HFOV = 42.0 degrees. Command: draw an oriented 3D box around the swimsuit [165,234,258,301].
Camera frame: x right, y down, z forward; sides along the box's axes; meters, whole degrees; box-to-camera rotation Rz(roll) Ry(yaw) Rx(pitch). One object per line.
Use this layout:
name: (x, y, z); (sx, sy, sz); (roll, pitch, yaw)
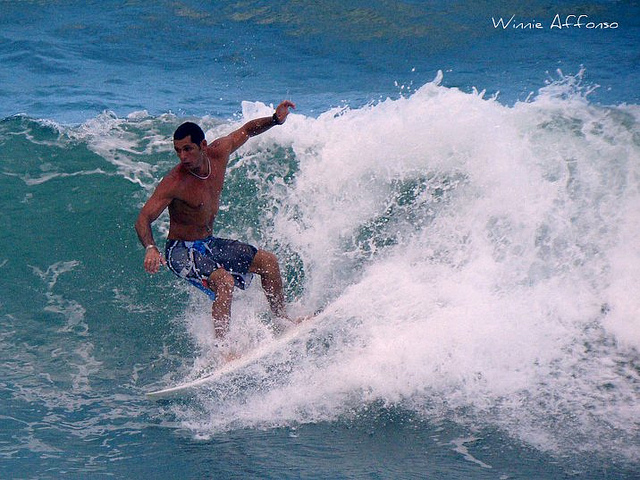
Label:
swimsuit: (-1.338, 0.219, 9.907); (1.104, 0.451, 0.884); (15, 35, 22)

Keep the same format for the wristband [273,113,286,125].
wristband: (-0.514, -1.489, 10.411); (0.123, 0.228, 0.127); (5, 51, 13)
